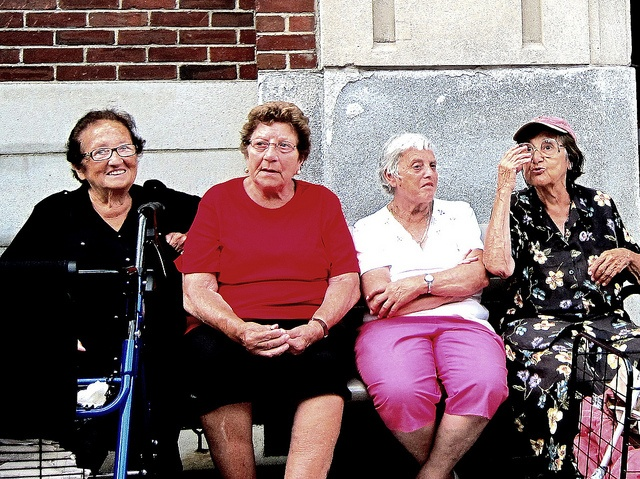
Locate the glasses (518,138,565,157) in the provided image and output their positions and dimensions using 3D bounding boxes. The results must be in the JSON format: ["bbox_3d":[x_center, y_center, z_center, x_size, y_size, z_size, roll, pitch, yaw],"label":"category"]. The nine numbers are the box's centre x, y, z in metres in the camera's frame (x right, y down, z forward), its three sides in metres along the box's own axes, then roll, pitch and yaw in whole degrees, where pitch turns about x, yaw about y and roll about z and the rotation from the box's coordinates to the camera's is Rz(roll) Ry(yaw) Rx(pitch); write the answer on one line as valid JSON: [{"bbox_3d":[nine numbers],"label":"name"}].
[{"bbox_3d":[1.384,-0.561,4.792,0.165,0.050,0.165,-4,-11,24],"label":"glasses"}]
